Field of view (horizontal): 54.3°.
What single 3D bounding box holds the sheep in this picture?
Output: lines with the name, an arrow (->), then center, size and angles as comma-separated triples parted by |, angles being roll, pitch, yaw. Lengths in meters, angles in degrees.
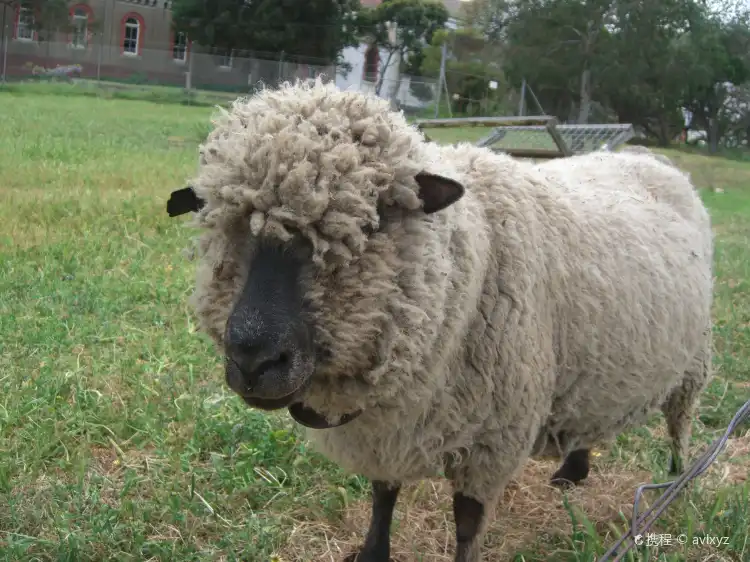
sheep -> 0.476, 0.157, 5.298 | 4.073, 2.860, 2.022 | -1, -3, -41
